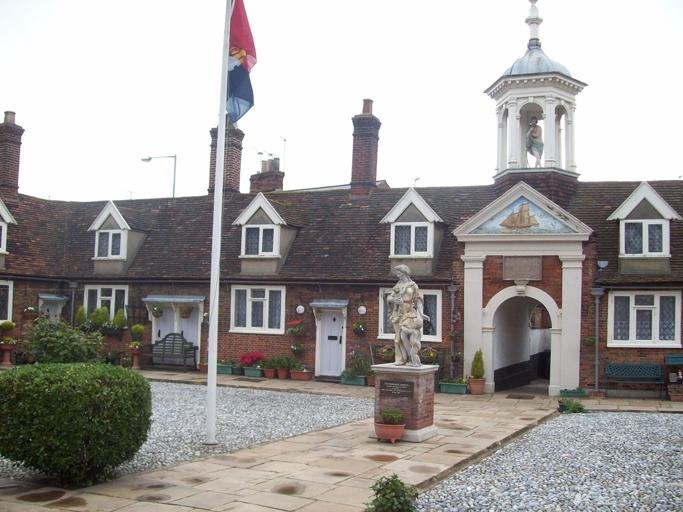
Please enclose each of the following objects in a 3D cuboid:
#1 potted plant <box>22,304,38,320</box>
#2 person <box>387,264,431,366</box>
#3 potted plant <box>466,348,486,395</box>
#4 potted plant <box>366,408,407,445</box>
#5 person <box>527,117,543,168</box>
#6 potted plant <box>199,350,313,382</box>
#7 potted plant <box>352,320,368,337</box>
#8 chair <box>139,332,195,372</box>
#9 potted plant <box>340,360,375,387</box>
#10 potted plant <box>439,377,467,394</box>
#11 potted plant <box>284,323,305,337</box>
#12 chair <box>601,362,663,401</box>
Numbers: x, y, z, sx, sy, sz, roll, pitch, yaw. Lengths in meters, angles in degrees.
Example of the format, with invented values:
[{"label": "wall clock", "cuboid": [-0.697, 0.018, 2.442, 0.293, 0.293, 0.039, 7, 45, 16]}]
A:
[{"label": "potted plant", "cuboid": [-12.184, 2.203, 29.486, 0.591, 0.539, 0.544, -1, -6, 2]}, {"label": "person", "cuboid": [1.517, 1.376, 17.784, 0.836, 2.344, 0.787, 1, -1, 2]}, {"label": "potted plant", "cuboid": [4.549, 3.815, 24.878, 0.594, 1.495, 0.497, 1, -1, -6]}, {"label": "potted plant", "cuboid": [1.030, 3.836, 16.770, 0.730, 0.705, 0.687, 2, -8, -13]}, {"label": "person", "cuboid": [7.179, -4.238, 27.831, 0.590, 1.993, 1.431, 1, -1, 13]}, {"label": "potted plant", "cuboid": [-2.776, 3.989, 27.640, 3.487, 0.920, 0.724, 0, -1, 23]}, {"label": "potted plant", "cuboid": [0.662, 2.554, 26.439, 0.526, 0.485, 0.503, 1, -10, -4]}, {"label": "chair", "cuboid": [-6.721, 3.798, 29.192, 1.589, 0.958, 0.544, -1, -2, 20]}, {"label": "potted plant", "cuboid": [0.559, 4.155, 26.274, 1.085, 0.789, 0.858, 1, 0, 25]}, {"label": "potted plant", "cuboid": [3.731, 4.350, 24.986, 0.681, 0.285, 0.450, -1, -5, 16]}, {"label": "potted plant", "cuboid": [-1.709, 2.673, 27.438, 0.648, 0.512, 0.347, 0, -1, 22]}, {"label": "chair", "cuboid": [9.337, 3.922, 23.802, 1.772, 1.113, 0.652, 1, -1, 18]}]
